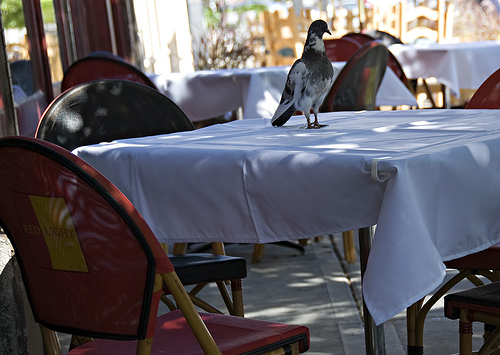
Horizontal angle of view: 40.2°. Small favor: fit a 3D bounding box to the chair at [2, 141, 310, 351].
[{"bbox_3d":[-0.315,0.193,1.869,0.728,0.646,0.377,-2,11,-5],"label":"chair"}]
